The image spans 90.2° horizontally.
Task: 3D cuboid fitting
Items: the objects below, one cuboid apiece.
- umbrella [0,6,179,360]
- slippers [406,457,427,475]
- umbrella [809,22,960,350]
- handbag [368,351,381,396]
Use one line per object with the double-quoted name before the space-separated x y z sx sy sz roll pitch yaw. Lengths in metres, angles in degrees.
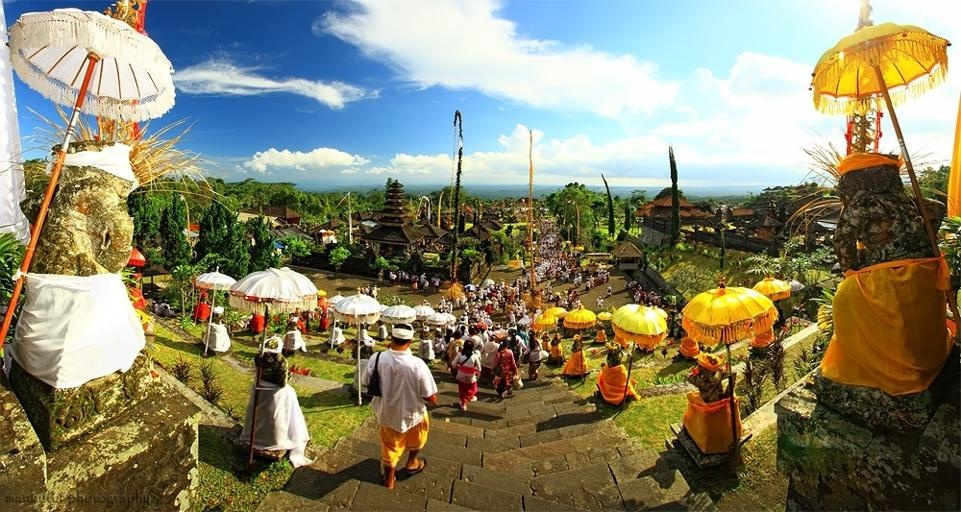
"umbrella" -5.762 -1.234 7.212 2.026 4.417 1.948 -4 6 -27
"slippers" -1.069 3.529 8.004 0.346 0.212 0.148 -3 6 -30
"umbrella" 6.341 -1.223 7.603 1.845 4.737 1.812 2 6 28
"handbag" -1.760 2.009 7.971 0.229 0.723 0.273 -3 6 -12
